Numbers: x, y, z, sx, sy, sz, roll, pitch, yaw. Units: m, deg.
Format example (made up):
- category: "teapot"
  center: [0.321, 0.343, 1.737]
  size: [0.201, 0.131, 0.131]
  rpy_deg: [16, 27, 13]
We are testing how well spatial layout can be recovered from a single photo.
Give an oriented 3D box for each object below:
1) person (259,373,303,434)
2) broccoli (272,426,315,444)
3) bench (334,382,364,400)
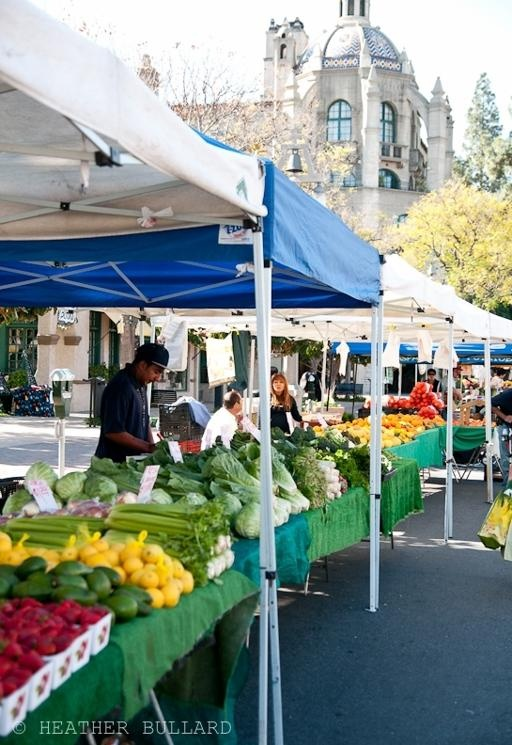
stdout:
- category: "person"
  center: [0.425, 0.508, 10.471]
  size: [0.342, 1.034, 0.369]
  rpy_deg: [0, -1, 5]
- category: "broccoli"
  center: [0.372, 0.569, 6.123]
  size: [0.190, 0.085, 0.213]
  rpy_deg: [3, 5, -17]
- category: "bench"
  center: [4.800, 1.040, 37.046]
  size: [1.363, 0.843, 1.327]
  rpy_deg: [0, -2, -43]
